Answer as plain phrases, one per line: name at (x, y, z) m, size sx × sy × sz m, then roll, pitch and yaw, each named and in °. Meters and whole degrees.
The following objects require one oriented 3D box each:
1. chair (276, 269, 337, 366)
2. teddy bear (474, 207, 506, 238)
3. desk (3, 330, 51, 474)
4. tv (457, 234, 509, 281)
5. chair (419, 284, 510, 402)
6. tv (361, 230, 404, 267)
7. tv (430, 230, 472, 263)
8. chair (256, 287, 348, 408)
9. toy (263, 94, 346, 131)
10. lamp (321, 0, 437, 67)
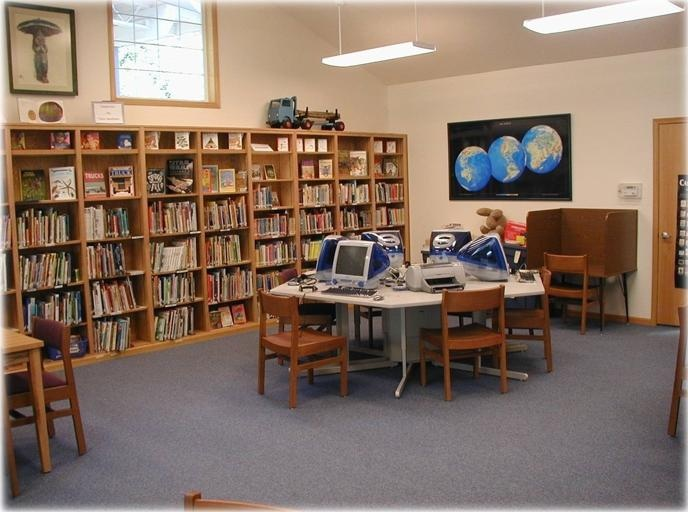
chair at (-0.366, 0.569, 6.030) m, size 0.928 × 1.401 × 0.779 m, roll -2°, pitch 5°, yaw -4°
teddy bear at (2.062, -0.443, 7.103) m, size 0.395 × 0.438 × 0.377 m, roll 0°, pitch 8°, yaw 13°
desk at (-2.229, 1.043, 3.640) m, size 0.229 × 0.944 × 0.332 m, roll -7°, pitch 9°, yaw -32°
tv at (1.393, 0.029, 5.215) m, size 0.468 × 0.418 × 0.478 m, roll -7°, pitch -2°, yaw 13°
chair at (1.146, 0.729, 4.850) m, size 0.804 × 1.008 × 0.955 m, roll 2°, pitch 9°, yaw 26°
tv at (0.449, -0.122, 5.921) m, size 0.424 × 0.443 × 0.461 m, roll -3°, pitch 5°, yaw -6°
tv at (1.185, -0.112, 5.684) m, size 0.366 × 0.379 × 0.374 m, roll 1°, pitch 2°, yaw 40°
chair at (-0.434, 0.774, 4.954) m, size 0.852 × 1.003 × 1.077 m, roll -3°, pitch 8°, yaw -10°
toy at (-0.624, -2.023, 7.671) m, size 1.259 × 0.545 × 0.485 m, roll -2°, pitch 2°, yaw -38°
lamp at (0.482, -2.996, 6.774) m, size 1.235 × 0.795 × 0.434 m, roll -4°, pitch -5°, yaw 38°
